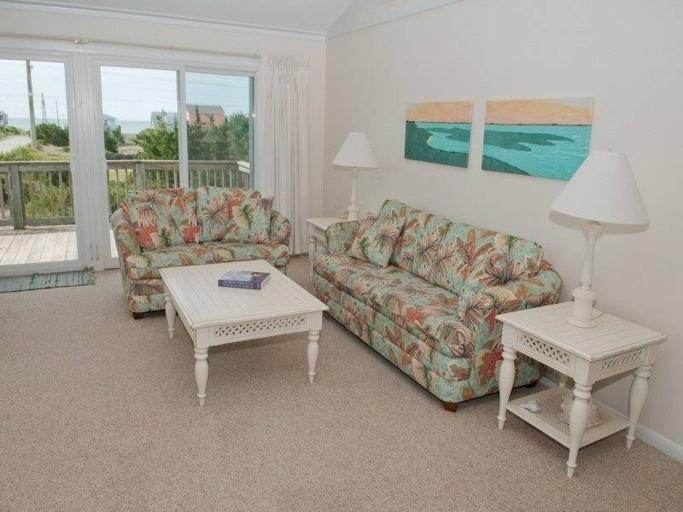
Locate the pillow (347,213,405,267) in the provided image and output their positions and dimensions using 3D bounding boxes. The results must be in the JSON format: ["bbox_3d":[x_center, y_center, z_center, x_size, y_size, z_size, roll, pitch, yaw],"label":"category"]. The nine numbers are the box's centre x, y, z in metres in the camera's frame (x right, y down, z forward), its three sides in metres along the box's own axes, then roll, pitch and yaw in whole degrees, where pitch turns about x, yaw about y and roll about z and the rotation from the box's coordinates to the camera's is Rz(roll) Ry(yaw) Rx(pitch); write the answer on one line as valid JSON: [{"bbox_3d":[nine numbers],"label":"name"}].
[{"bbox_3d":[0.348,-0.205,4.325,0.591,0.611,0.160,4,21,-15],"label":"pillow"}]

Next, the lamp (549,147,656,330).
[{"bbox_3d":[1.531,-0.113,2.840,0.459,0.988,0.603,12,19,38],"label":"lamp"}]

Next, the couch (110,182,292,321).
[{"bbox_3d":[-1.339,-0.106,4.730,1.615,0.999,0.932,-6,16,-26],"label":"couch"}]

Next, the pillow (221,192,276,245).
[{"bbox_3d":[-0.921,-0.357,4.913,0.449,0.462,0.138,11,-4,-6],"label":"pillow"}]

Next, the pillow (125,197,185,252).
[{"bbox_3d":[-1.753,-0.300,4.563,0.470,0.432,0.247,-7,16,-24],"label":"pillow"}]
